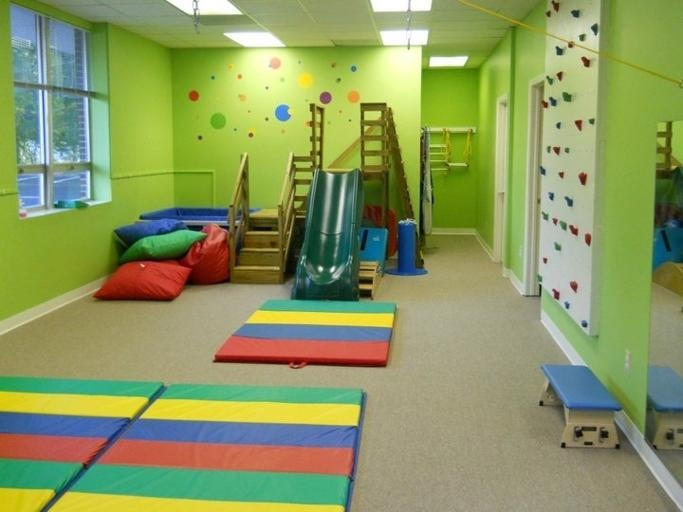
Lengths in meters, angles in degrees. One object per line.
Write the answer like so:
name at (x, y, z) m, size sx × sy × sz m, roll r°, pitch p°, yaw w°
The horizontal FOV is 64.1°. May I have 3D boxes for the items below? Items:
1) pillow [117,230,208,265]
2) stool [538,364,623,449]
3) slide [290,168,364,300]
pillow at (-2.660, -0.150, 7.781) m, size 0.979 × 0.303 × 0.998 m, roll 2°, pitch 16°, yaw 45°
stool at (1.660, 0.855, 3.784) m, size 0.383 × 0.289 × 0.883 m, roll 1°, pitch 12°, yaw 7°
slide at (-0.153, -0.294, 7.209) m, size 0.694 × 0.467 × 1.998 m, roll 2°, pitch 56°, yaw 6°
